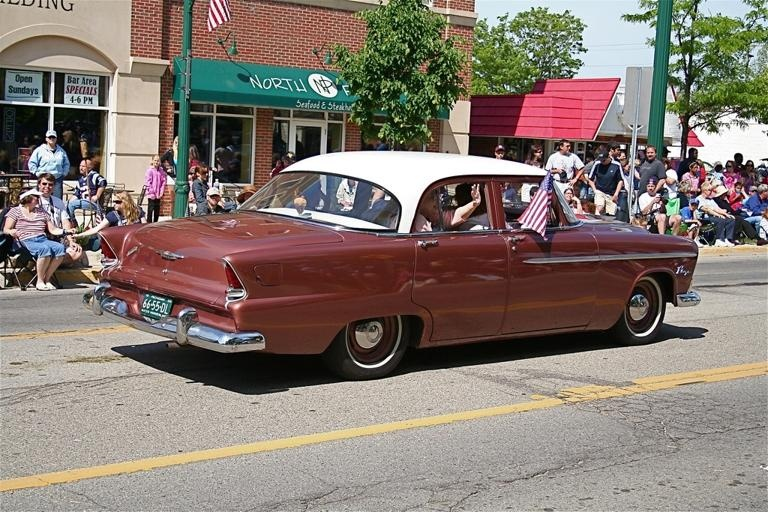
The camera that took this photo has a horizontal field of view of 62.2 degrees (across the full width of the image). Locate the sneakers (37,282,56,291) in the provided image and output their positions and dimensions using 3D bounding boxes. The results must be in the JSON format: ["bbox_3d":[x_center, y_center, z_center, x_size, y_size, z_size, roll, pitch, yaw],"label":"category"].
[{"bbox_3d":[-5.914,0.535,11.074,0.261,0.082,0.142,1,2,25],"label":"sneakers"}]

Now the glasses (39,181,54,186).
[{"bbox_3d":[-6.040,-1.306,11.399,0.111,0.080,0.141,0,10,-9],"label":"glasses"}]

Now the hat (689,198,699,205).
[{"bbox_3d":[9.595,-1.689,19.678,0.239,0.200,0.357,1,-4,16],"label":"hat"}]

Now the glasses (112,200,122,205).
[{"bbox_3d":[-5.012,-1.014,11.940,0.203,0.057,0.193,9,-7,-27],"label":"glasses"}]

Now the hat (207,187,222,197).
[{"bbox_3d":[-3.369,-1.251,12.520,0.216,0.135,0.283,2,4,-21],"label":"hat"}]

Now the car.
[{"bbox_3d":[0.231,0.001,7.490,6.329,2.442,1.683,-2,10,-28],"label":"car"}]
